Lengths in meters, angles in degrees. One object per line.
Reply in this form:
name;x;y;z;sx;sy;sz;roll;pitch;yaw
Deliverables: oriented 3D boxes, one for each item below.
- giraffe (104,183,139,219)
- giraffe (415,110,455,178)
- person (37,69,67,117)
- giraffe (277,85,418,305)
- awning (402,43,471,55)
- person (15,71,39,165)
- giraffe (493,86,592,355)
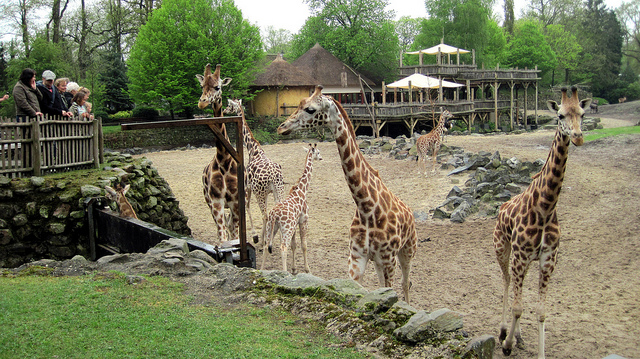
giraffe;-7.659;0.835;21.972;0.750;1.393;0.331;-50;-4;37
giraffe;6.528;-2.165;32.984;1.859;3.510;4.946;-1;5;14
person;-10.660;-3.416;22.761;0.949;1.884;1.188;-4;5;-26
giraffe;1.372;1.288;18.704;2.014;7.799;6.461;-8;-10;33
awning;11.752;-12.513;55.502;3.127;0.521;3.094;-7;11;-38
person;-11.165;-2.378;21.965;0.785;3.560;1.185;-4;5;-27
giraffe;7.202;1.234;19.143;2.578;8.451;2.835;0;5;18
